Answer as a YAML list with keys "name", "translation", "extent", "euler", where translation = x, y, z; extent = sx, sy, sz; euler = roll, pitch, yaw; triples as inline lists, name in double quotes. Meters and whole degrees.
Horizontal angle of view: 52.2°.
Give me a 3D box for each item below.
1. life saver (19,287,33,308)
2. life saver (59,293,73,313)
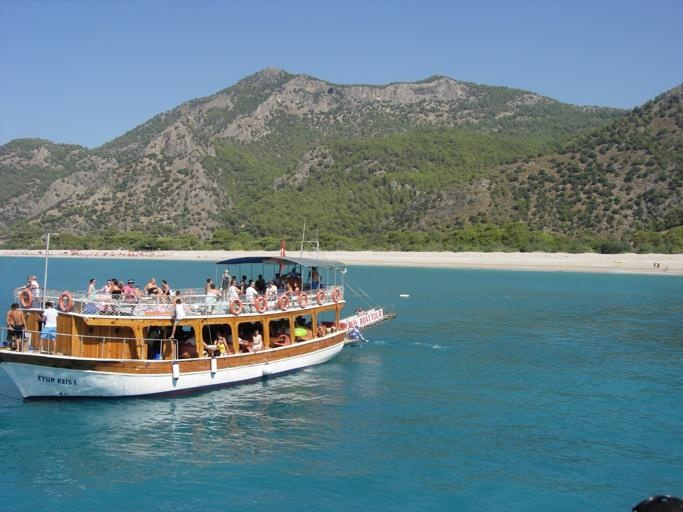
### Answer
- name: "life saver"
  translation: [-18.395, 2.503, 40.754]
  extent: [1.005, 0.975, 0.270]
  euler: [-29, -7, 28]
- name: "life saver"
  translation: [-15.596, 2.598, 39.572]
  extent: [0.849, 1.128, 0.381]
  euler: [0, 3, -6]
